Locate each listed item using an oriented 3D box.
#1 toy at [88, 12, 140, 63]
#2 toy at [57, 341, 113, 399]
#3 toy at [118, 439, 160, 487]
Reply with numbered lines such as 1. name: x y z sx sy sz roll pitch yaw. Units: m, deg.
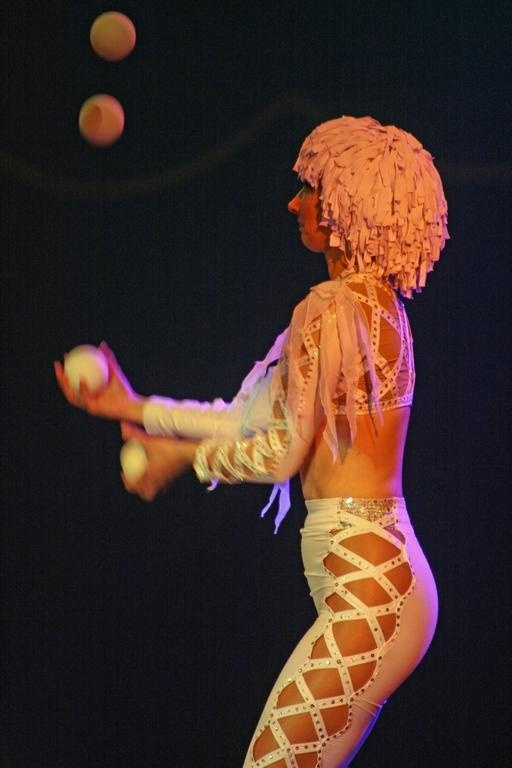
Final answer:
1. toy: -0.405 -0.991 2.776 0.128 0.133 0.060 3 30 -7
2. toy: -0.316 -0.029 1.896 0.098 0.101 0.090 1 24 10
3. toy: -0.240 0.153 1.917 0.033 0.083 0.065 1 31 -40
